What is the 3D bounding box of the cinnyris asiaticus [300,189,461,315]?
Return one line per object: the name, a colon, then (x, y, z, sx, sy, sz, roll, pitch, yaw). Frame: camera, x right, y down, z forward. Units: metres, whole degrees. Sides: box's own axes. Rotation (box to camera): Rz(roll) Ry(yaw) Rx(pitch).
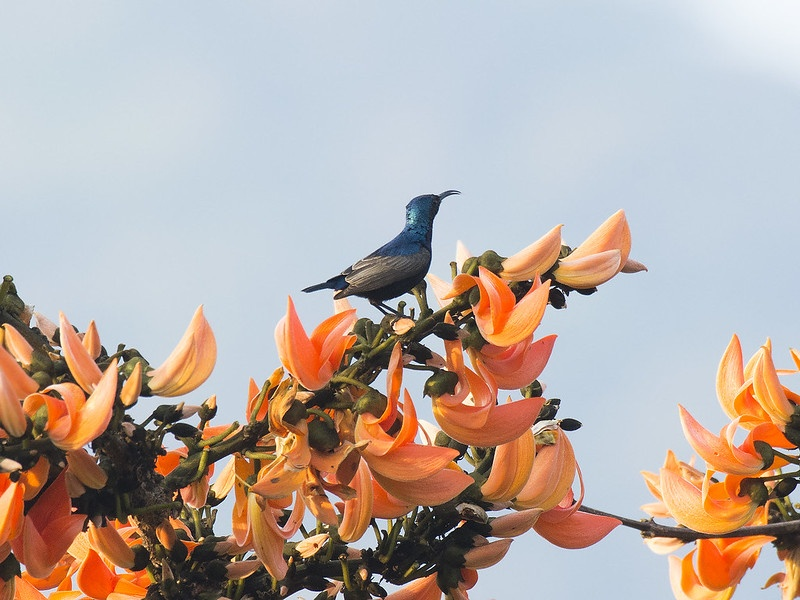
cinnyris asiaticus: (-0.067, -0.158, 6.902, 0.513, 0.482, 0.222, 1, -15, -12)
